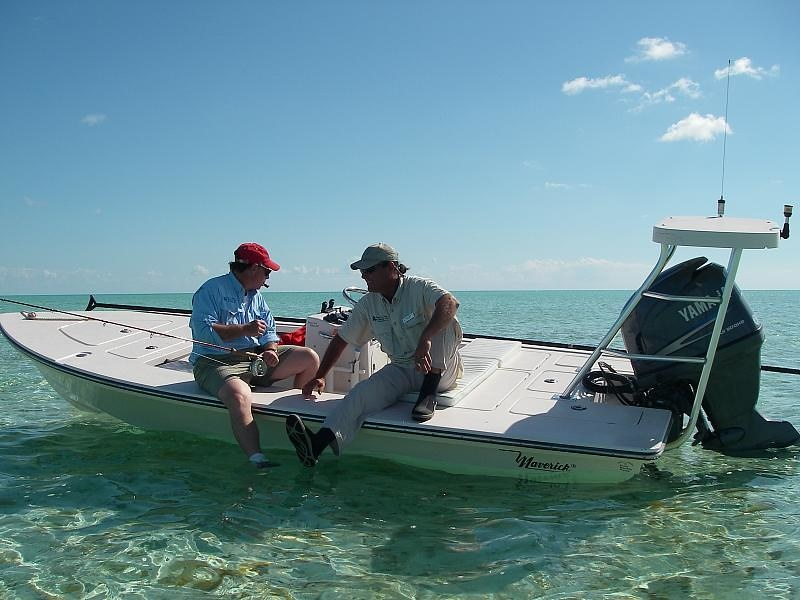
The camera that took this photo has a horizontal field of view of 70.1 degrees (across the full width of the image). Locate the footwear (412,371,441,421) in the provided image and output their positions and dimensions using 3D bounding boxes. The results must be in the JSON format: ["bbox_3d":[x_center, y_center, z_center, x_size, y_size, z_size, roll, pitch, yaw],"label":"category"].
[{"bbox_3d":[0.199,0.708,4.321,0.187,0.338,0.344,2,10,8],"label":"footwear"}]
